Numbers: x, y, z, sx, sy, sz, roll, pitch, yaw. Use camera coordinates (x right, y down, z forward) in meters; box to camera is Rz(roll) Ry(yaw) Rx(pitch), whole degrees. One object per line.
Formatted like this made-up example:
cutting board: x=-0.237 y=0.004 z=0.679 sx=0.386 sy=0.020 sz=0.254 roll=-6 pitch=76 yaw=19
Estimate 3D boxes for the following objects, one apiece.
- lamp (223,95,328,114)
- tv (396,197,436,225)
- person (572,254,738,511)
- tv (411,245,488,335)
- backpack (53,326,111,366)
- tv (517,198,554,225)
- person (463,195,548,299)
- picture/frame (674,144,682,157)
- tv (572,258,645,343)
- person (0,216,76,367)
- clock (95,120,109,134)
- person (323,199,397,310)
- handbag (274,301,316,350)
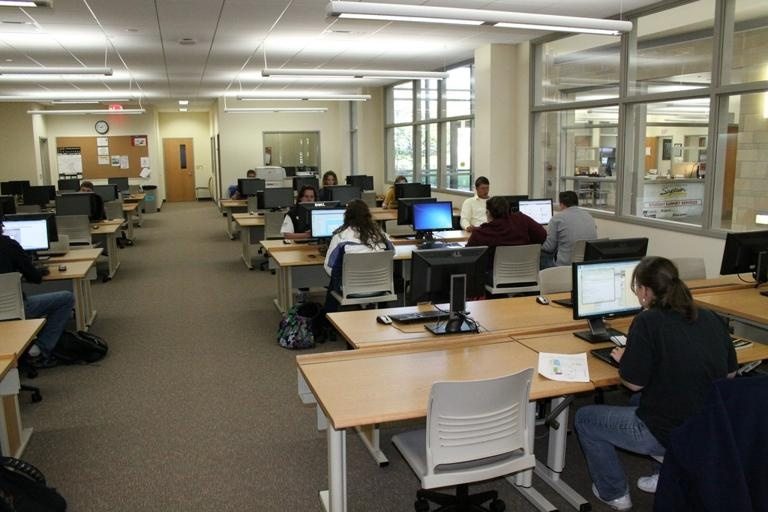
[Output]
lamp: x=-3.149 y=-4.277 z=15.488 sx=1.670 sy=0.276 sz=1.204 roll=-3 pitch=6 yaw=-22
tv: x=0.475 y=-0.661 z=8.140 sx=0.726 sy=0.357 sz=0.509 roll=3 pitch=-7 yaw=-6
person: x=1.785 y=0.906 z=3.638 sx=0.643 sy=1.775 sz=0.777 roll=-10 pitch=15 yaw=-35
tv: x=0.562 y=0.252 z=4.328 sx=0.655 sy=0.626 sz=0.318 roll=-3 pitch=7 yaw=-20
backpack: x=-3.464 y=1.014 z=6.222 sx=0.621 sy=0.286 sz=0.826 roll=-1 pitch=3 yaw=-19
tv: x=2.132 y=-0.614 z=7.711 sx=0.495 sy=0.338 sz=0.054 roll=1 pitch=1 yaw=-13
person: x=1.523 y=-0.074 z=6.647 sx=0.914 sy=1.301 sz=0.812 roll=-6 pitch=8 yaw=29
picture/frame: x=4.001 y=-1.423 z=7.414 sx=0.066 sy=0.181 sz=0.160 roll=-3 pitch=12 yaw=-10
tv: x=1.699 y=0.341 z=4.215 sx=0.690 sy=0.636 sz=0.244 roll=-3 pitch=7 yaw=-22
person: x=-3.619 y=0.383 z=5.660 sx=0.585 sy=1.501 sz=0.798 roll=3 pitch=13 yaw=19
clock: x=-9.804 y=-4.419 z=18.919 sx=0.511 sy=0.483 sz=0.126 roll=-1 pitch=12 yaw=2
person: x=-0.299 y=0.071 z=6.283 sx=0.880 sy=1.418 sz=0.838 roll=1 pitch=18 yaw=-6
handbag: x=-0.970 y=0.831 z=6.356 sx=0.490 sy=0.457 sz=0.456 roll=0 pitch=3 yaw=-28
